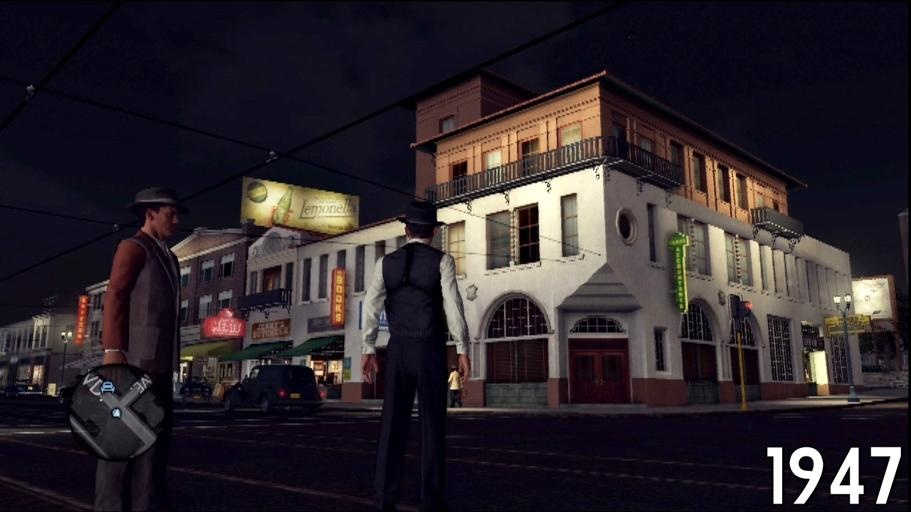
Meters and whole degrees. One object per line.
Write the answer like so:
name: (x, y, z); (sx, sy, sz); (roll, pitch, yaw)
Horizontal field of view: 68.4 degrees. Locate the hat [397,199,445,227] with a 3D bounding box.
hat: (-0.601, -0.842, 11.880); (0.694, 0.582, 1.060); (1, -14, -3)
